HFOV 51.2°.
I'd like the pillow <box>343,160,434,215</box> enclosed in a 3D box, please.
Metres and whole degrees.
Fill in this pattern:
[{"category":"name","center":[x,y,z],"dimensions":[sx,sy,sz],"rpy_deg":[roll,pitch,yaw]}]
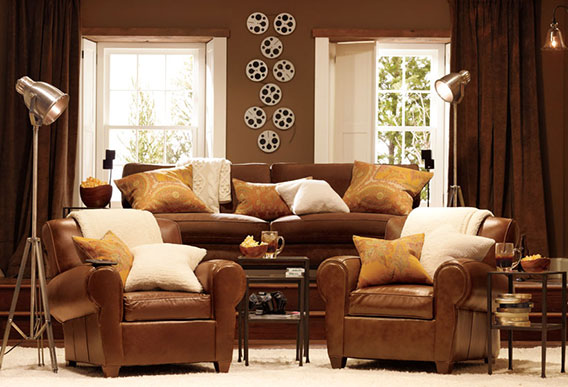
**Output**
[{"category":"pillow","center":[1.006,-0.053,6.147],"dimensions":[0.628,0.652,0.207],"rpy_deg":[11,-38,20]}]

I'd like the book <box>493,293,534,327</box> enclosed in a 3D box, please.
[{"category":"book","center":[1.656,0.830,4.287],"dimensions":[0.233,0.210,0.233],"rpy_deg":[2,-6,-8]}]

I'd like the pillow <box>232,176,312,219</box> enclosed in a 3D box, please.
[{"category":"pillow","center":[-0.238,0.070,6.262],"dimensions":[0.745,0.479,0.231],"rpy_deg":[-3,-8,-40]}]

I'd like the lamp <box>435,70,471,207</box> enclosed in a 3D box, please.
[{"category":"lamp","center":[1.981,-0.686,6.915],"dimensions":[0.372,1.684,0.951],"rpy_deg":[-1,-2,19]}]

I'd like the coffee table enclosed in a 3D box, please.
[{"category":"coffee table","center":[-0.014,0.866,4.525],"dimensions":[0.737,1.071,0.701],"rpy_deg":[0,-3,-1]}]

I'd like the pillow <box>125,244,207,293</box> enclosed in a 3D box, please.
[{"category":"pillow","center":[-0.875,0.549,4.312],"dimensions":[0.375,0.407,0.129],"rpy_deg":[4,-47,-2]}]

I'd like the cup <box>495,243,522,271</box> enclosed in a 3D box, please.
[{"category":"cup","center":[1.617,0.461,4.339],"dimensions":[0.137,0.209,0.222],"rpy_deg":[-1,-1,30]}]

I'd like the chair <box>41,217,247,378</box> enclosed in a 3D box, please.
[{"category":"chair","center":[-1.172,0.765,4.713],"dimensions":[1.324,1.155,1.468],"rpy_deg":[4,-7,-30]}]

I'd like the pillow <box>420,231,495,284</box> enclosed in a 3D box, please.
[{"category":"pillow","center":[1.240,0.463,4.430],"dimensions":[0.414,0.407,0.130],"rpy_deg":[5,-26,41]}]

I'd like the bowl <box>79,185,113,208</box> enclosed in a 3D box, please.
[{"category":"bowl","center":[-1.963,0.030,6.164],"dimensions":[0.274,0.259,0.311],"rpy_deg":[0,-2,12]}]

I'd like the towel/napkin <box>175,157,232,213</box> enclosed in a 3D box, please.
[{"category":"towel/napkin","center":[-0.786,-0.086,6.460],"dimensions":[0.534,0.598,0.216],"rpy_deg":[2,-7,-5]}]

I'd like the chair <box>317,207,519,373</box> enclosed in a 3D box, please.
[{"category":"chair","center":[0.980,0.671,4.530],"dimensions":[1.086,0.983,1.044],"rpy_deg":[-4,-9,31]}]

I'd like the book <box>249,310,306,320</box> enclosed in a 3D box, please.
[{"category":"book","center":[-0.073,0.933,4.530],"dimensions":[0.387,0.045,0.263],"rpy_deg":[0,-2,-5]}]

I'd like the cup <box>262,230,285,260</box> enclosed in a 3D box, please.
[{"category":"cup","center":[-0.067,0.400,4.585],"dimensions":[0.204,0.205,0.135],"rpy_deg":[-3,-3,33]}]
